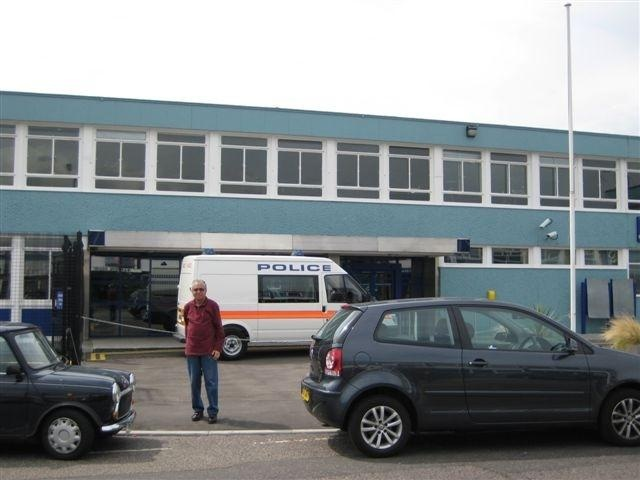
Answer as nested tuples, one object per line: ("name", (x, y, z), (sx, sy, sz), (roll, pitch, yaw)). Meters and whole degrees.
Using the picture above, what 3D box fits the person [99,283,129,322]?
("person", (-6.073, 1.827, 27.263), (0.792, 1.131, 0.181), (-2, 9, -14))

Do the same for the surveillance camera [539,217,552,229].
("surveillance camera", (7.283, -0.508, 30.111), (0.506, 0.338, 0.284), (-6, 10, -39))

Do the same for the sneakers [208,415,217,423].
("sneakers", (-1.933, 3.169, 16.421), (0.147, 0.132, 0.113), (1, 8, 4))

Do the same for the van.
("van", (-1.411, 1.685, 24.081), (4.541, 2.028, 2.524), (-2, -2, -14))

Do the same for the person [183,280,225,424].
("person", (-2.114, 1.974, 16.594), (0.712, 2.490, 0.703), (2, 9, 14))

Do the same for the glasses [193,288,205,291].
("glasses", (-2.171, 0.887, 16.467), (0.190, 0.066, 0.056), (-4, 9, -28))

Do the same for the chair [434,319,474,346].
("chair", (2.190, 1.518, 15.282), (0.561, 0.491, 0.402), (-2, -5, -9))
